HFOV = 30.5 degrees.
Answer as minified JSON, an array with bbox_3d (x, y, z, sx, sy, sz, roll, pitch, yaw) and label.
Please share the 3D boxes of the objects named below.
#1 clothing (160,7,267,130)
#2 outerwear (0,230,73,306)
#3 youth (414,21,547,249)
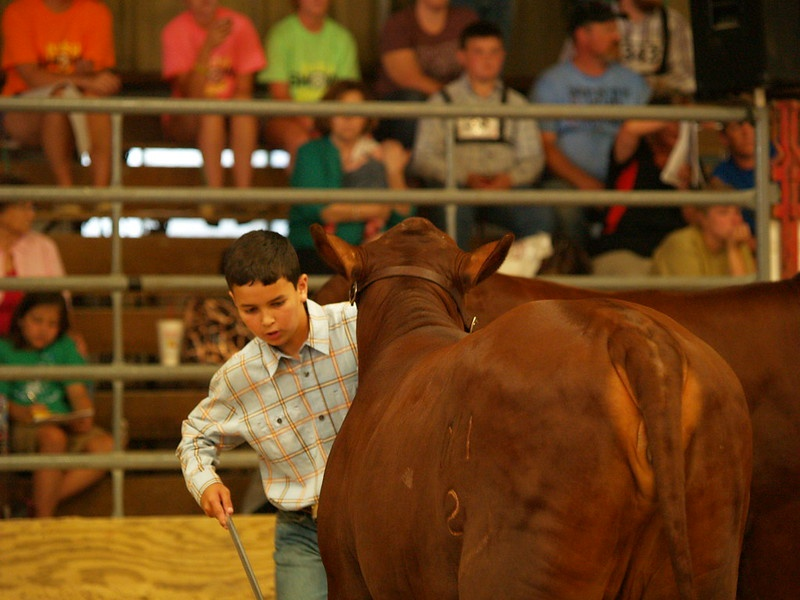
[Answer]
[{"bbox_3d":[-0.903,-1.181,7.629,0.480,0.521,0.200,-10,-1,8],"label":"clothing"},{"bbox_3d":[-1.741,-0.135,7.001,0.218,0.423,0.312,-24,-18,23],"label":"outerwear"},{"bbox_3d":[0.398,-0.764,7.493,0.662,1.223,0.663,0,16,-3],"label":"youth"}]
